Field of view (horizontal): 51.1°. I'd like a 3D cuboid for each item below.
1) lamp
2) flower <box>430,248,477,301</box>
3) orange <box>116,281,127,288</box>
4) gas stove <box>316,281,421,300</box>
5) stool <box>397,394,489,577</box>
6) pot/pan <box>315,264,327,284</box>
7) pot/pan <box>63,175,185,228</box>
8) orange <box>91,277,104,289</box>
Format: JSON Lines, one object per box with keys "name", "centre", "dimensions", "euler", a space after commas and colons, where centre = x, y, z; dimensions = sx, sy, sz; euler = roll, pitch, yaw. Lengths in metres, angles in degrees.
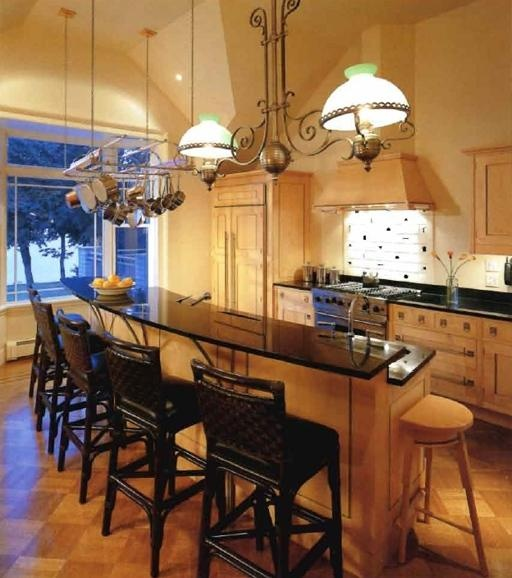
{"name": "lamp", "centre": [0.351, -1.658, 4.376], "dimensions": [0.548, 1.737, 2.240], "euler": [-1, 2, -37]}
{"name": "flower", "centre": [1.749, -0.136, 4.775], "dimensions": [0.396, 0.445, 0.420], "euler": [-4, 7, -25]}
{"name": "orange", "centre": [-1.012, -0.036, 4.116], "dimensions": [0.042, 0.037, 0.068], "euler": [2, 8, -8]}
{"name": "gas stove", "centre": [1.111, 0.004, 5.132], "dimensions": [0.680, 0.039, 0.965], "euler": [-7, 12, -37]}
{"name": "stool", "centre": [0.932, 0.927, 2.687], "dimensions": [0.436, 0.705, 0.566], "euler": [3, 10, 15]}
{"name": "pot/pan", "centre": [0.707, -0.146, 5.792], "dimensions": [0.180, 0.211, 0.134], "euler": [0, 0, 34]}
{"name": "pot/pan", "centre": [-0.916, -0.631, 3.904], "dimensions": [0.765, 0.357, 0.800], "euler": [-5, 11, -28]}
{"name": "orange", "centre": [-1.206, -0.048, 4.076], "dimensions": [0.090, 0.057, 0.104], "euler": [0, 7, -5]}
